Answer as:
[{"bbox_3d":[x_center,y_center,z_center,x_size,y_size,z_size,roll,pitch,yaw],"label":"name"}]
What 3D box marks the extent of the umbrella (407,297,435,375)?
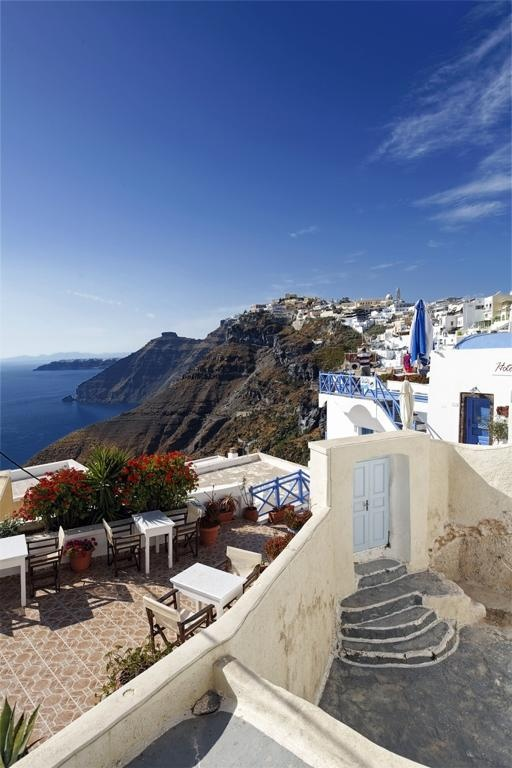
[{"bbox_3d":[5.119,-1.538,14.312,0.682,1.742,1.237,-3,1,21],"label":"umbrella"}]
